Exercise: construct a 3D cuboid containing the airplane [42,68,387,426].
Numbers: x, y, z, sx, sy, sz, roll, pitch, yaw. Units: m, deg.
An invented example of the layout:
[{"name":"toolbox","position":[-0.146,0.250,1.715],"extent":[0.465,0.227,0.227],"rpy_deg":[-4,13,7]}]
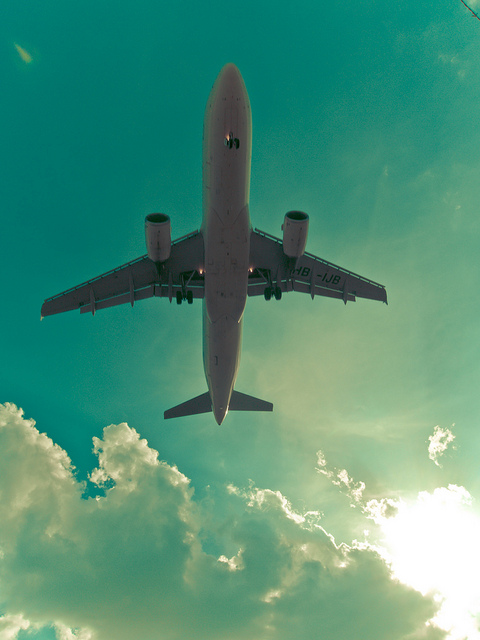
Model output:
[{"name":"airplane","position":[-1.452,-2.560,34.864],"extent":[12.033,4.775,14.985],"rpy_deg":[-2,-72,-7]}]
